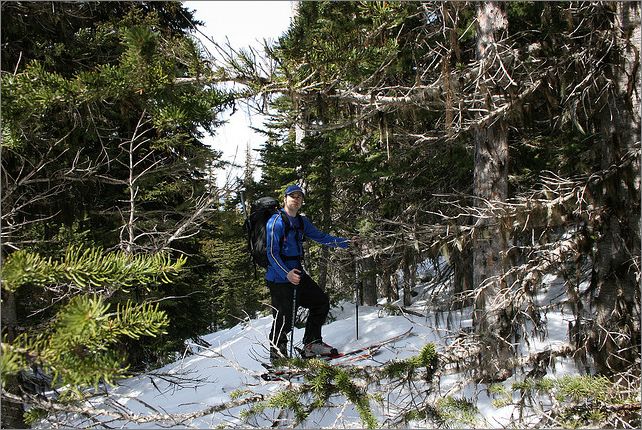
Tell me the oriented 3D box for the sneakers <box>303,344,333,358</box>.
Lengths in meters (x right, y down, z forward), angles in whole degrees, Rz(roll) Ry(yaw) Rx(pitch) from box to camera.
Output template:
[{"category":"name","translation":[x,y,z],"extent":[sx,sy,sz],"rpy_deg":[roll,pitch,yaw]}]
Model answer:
[{"category":"sneakers","translation":[-0.047,2.274,12.036],"extent":[0.585,0.273,0.204],"rpy_deg":[-3,-4,-6]}]
